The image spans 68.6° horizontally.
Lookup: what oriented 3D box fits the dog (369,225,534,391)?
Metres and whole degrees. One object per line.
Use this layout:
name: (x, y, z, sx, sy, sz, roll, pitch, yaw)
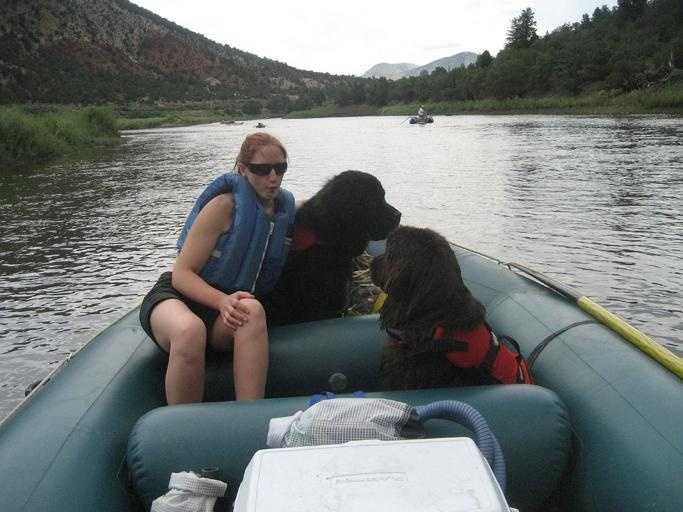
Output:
dog: (0.602, 0.272, 3.054, 0.986, 1.050, 0.667, 5, 9, 22)
